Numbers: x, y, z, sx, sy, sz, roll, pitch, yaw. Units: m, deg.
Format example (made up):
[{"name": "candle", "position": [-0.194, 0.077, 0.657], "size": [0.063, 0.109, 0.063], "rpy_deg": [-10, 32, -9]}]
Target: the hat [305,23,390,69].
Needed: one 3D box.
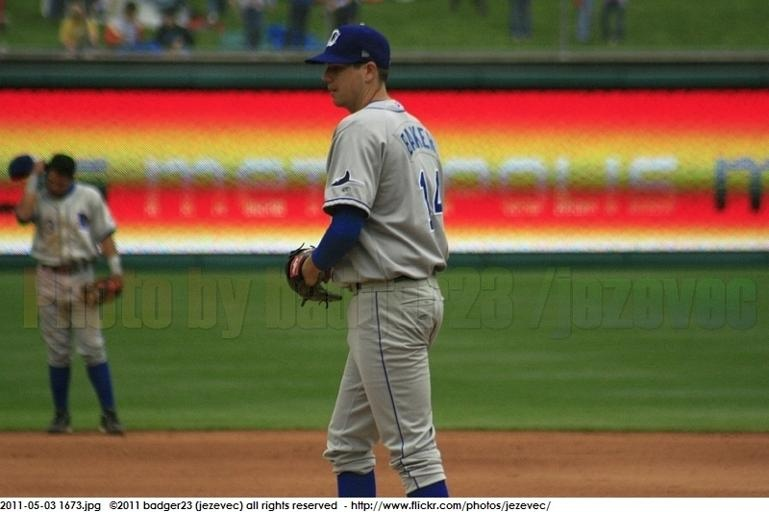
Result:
[{"name": "hat", "position": [-0.217, -1.299, 11.460], "size": [0.453, 0.211, 0.269], "rpy_deg": [2, 9, -5]}]

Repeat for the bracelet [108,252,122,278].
[{"name": "bracelet", "position": [-1.861, 0.067, 13.100], "size": [0.058, 0.144, 0.082], "rpy_deg": [-9, 6, -33]}]

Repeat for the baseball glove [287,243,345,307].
[{"name": "baseball glove", "position": [-0.496, 0.116, 11.745], "size": [0.183, 0.319, 0.498], "rpy_deg": [36, -31, 6]}]

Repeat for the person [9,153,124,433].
[{"name": "person", "position": [-2.156, 0.272, 13.096], "size": [0.687, 1.966, 0.279], "rpy_deg": [-2, 2, -8]}]
